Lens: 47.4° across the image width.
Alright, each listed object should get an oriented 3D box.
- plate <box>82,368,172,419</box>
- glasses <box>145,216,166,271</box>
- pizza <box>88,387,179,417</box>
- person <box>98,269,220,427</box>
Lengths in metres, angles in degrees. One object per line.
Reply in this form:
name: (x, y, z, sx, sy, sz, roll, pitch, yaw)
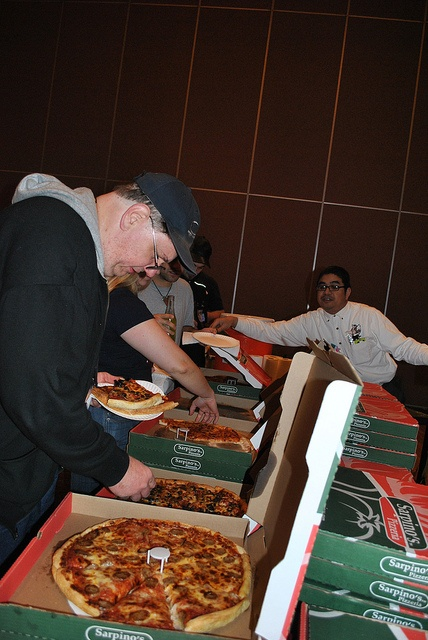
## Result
plate: (-0.250, 0.247, 1.511, 0.203, 0.053, 0.191, 16, 8, 37)
glasses: (-0.135, -0.156, 1.112, 0.023, 0.082, 0.083, 9, 52, 1)
pizza: (-0.278, 0.254, 1.493, 0.191, 0.031, 0.190, 18, 3, 29)
person: (-0.213, 0.120, 1.879, 0.319, 0.777, 0.304, -9, 43, -14)
